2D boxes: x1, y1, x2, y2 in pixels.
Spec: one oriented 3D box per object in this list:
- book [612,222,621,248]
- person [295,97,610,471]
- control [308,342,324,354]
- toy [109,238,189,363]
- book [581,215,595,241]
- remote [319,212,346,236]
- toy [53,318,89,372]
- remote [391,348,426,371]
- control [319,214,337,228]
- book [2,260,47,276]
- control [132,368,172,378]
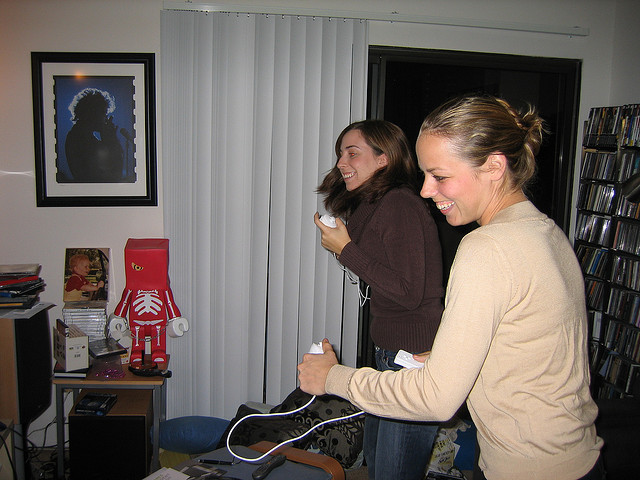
[{"bbox_3d":[1.852,-0.027,3.101,0.012,0.159,0.034,-5,9,-26],"label":"book"},{"bbox_3d":[0.417,0.129,1.413,0.766,1.049,0.371,-3,8,-12],"label":"person"},{"bbox_3d":[-0.009,0.368,1.690,0.034,0.034,0.032,-3,0,10],"label":"control"},{"bbox_3d":[-0.990,0.365,2.941,0.370,0.702,0.309,2,8,17],"label":"toy"},{"bbox_3d":[1.779,-0.078,3.298,0.028,0.125,0.123,14,13,31],"label":"book"},{"bbox_3d":[0.058,-0.062,2.157,0.071,0.041,0.097,17,18,-39],"label":"remote"},{"bbox_3d":[-1.412,0.581,2.830,0.125,0.250,0.252,-4,11,-44],"label":"toy"},{"bbox_3d":[0.297,0.400,1.745,0.128,0.031,0.126,19,8,-3],"label":"remote"},{"bbox_3d":[0.036,-0.080,2.210,0.069,0.044,0.098,0,9,7],"label":"control"},{"bbox_3d":[-1.703,0.160,2.830,0.149,0.037,0.156,1,7,-12],"label":"book"},{"bbox_3d":[-0.929,0.745,2.801,0.134,0.034,0.084,10,-1,-6],"label":"control"}]
